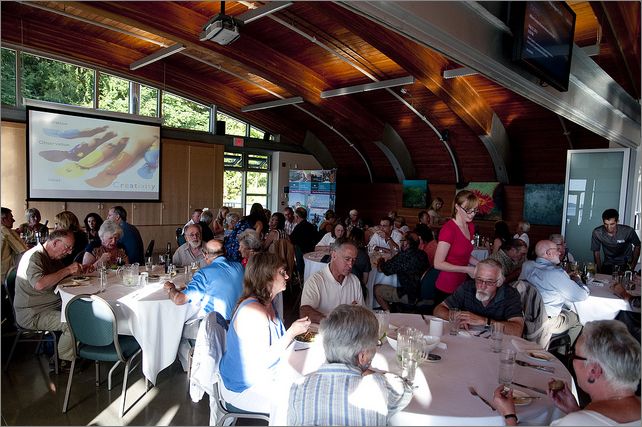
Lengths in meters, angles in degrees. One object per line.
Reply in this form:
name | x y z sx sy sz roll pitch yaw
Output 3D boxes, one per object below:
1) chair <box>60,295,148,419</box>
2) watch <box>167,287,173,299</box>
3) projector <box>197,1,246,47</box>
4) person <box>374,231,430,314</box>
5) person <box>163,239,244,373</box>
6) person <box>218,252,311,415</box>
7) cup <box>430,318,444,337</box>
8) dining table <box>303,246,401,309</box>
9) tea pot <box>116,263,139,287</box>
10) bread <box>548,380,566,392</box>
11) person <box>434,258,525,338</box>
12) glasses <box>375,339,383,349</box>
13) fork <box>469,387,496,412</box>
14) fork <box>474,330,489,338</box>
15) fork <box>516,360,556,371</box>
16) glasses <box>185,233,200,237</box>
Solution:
chair | -2.401 1.494 4.390 0.758 1.311 0.372 0 3 -3
watch | -1.657 0.883 4.461 0.082 0.115 0.034 5 -5 40
projector | -1.584 -2.897 6.397 0.635 0.325 0.377 2 3 45
person | 1.131 0.960 6.328 0.872 1.348 0.828 -6 14 -12
person | -1.393 0.972 4.778 0.846 1.521 0.785 20 24 11
person | -0.548 1.088 3.629 0.924 1.731 0.761 -4 24 -12
cup | 1.073 1.071 3.843 0.166 0.146 0.103 -5 9 -34
dining table | 0.429 0.866 5.293 1.052 0.537 1.078 1 -4 0
tea pot | -2.387 0.767 5.050 0.291 0.297 0.195 0 2 -25
bread | 1.807 1.308 3.101 0.083 0.034 0.086 -6 -5 31
person | 1.675 0.877 4.284 0.920 0.704 0.586 6 5 41
glasses | 0.525 1.173 3.651 0.072 0.074 0.041 -8 -16 21
fork | 1.212 1.411 3.125 0.049 0.049 0.343 -14 10 -10
fork | 1.555 1.160 3.960 0.050 0.004 0.189 2 4 39
fork | 1.830 1.304 3.470 0.259 0.029 0.048 -5 13 43
glasses | -1.830 0.311 5.755 0.196 0.088 0.151 -1 2 -16
